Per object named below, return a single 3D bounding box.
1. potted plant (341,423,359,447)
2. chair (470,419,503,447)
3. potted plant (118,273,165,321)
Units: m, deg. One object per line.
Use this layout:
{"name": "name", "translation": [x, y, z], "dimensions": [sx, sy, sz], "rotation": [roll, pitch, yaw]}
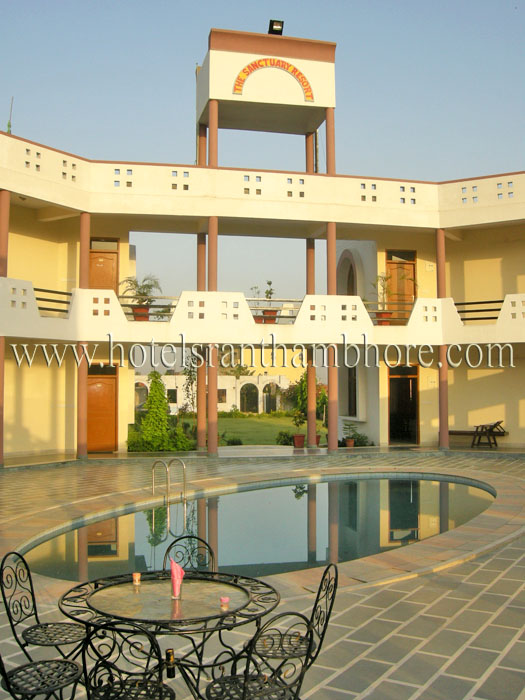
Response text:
{"name": "potted plant", "translation": [2.629, 2.609, 20.261], "dimensions": [0.574, 0.944, 0.530], "rotation": [2, -12, 0]}
{"name": "chair", "translation": [6.390, 2.371, 18.812], "dimensions": [0.830, 0.653, 0.913], "rotation": [-1, -6, 16]}
{"name": "potted plant", "translation": [-3.198, -1.388, 17.675], "dimensions": [1.272, 1.342, 1.201], "rotation": [1, -11, -14]}
